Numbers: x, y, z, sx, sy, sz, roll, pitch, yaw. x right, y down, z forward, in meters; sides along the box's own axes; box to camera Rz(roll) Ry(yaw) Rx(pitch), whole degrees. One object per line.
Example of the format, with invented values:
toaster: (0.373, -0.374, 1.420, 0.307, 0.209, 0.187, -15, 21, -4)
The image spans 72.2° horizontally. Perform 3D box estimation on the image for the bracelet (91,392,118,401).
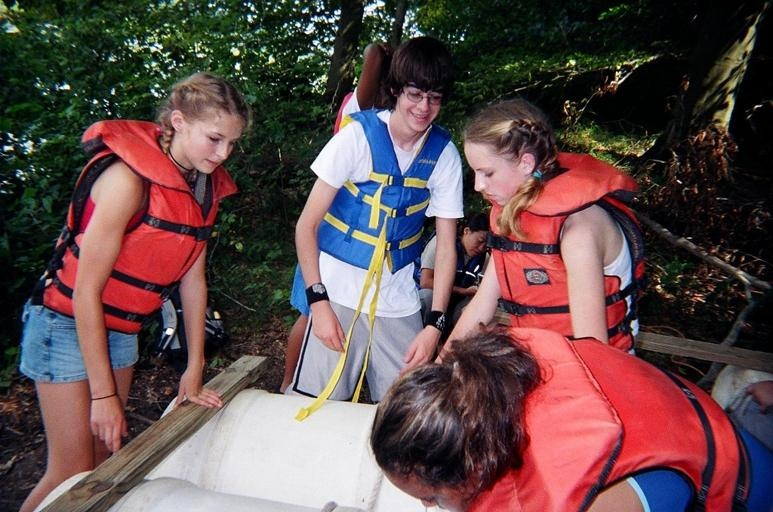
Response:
bracelet: (-1.720, 0.866, 3.235, 0.133, 0.060, 0.043, 3, 17, -20)

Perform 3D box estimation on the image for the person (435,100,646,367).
person: (1.052, -0.156, 3.383, 1.220, 1.529, 0.788, 19, 19, 31)
